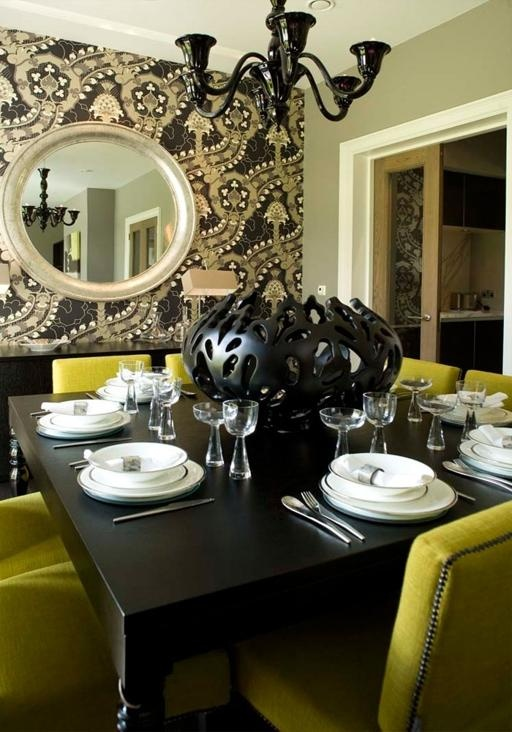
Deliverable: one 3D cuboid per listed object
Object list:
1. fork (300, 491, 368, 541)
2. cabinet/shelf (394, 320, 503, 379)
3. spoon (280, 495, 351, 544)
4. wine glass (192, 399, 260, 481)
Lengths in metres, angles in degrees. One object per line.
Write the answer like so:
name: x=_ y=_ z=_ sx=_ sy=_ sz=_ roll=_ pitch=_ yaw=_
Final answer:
fork: x=0.124 y=0.247 z=0.991 sx=0.028 sy=0.028 sz=0.241 roll=21 pitch=6 yaw=-20
cabinet/shelf: x=1.854 y=-0.056 z=5.140 sx=1.043 sy=0.690 sz=0.551 roll=-4 pitch=6 yaw=-32
spoon: x=0.091 y=0.249 z=0.999 sx=0.032 sy=0.031 sz=0.278 roll=-23 pitch=14 yaw=-11
wine glass: x=-0.068 y=0.171 z=1.278 sx=0.088 sy=0.150 sz=0.157 roll=-2 pitch=3 yaw=-41
